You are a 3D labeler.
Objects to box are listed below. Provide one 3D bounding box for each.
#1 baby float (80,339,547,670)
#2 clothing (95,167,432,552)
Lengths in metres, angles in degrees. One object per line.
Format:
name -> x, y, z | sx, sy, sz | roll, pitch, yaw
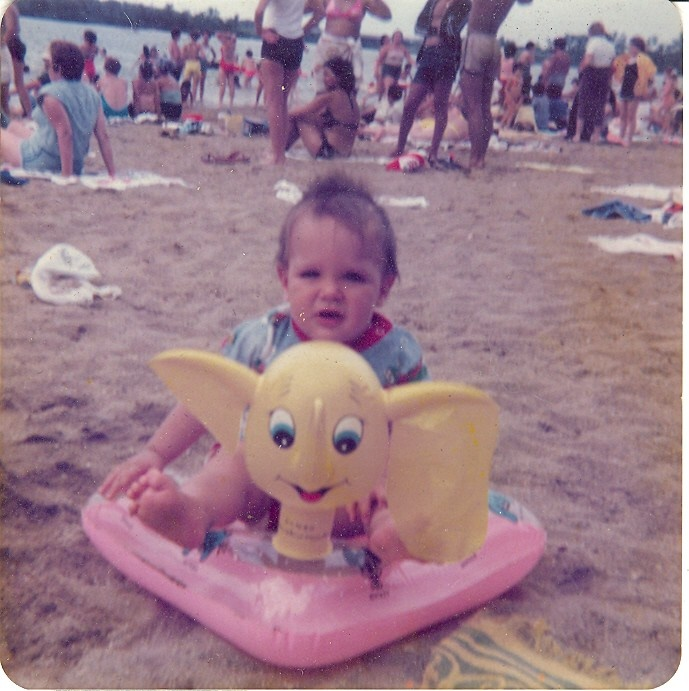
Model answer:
baby float -> -0.073, 0.266, 2.062 | 0.716, 0.658, 1.211 | 7, 28, -4
clothing -> -0.237, 0.137, 2.152 | 0.773, 1.073, 0.666 | 10, 15, 18
